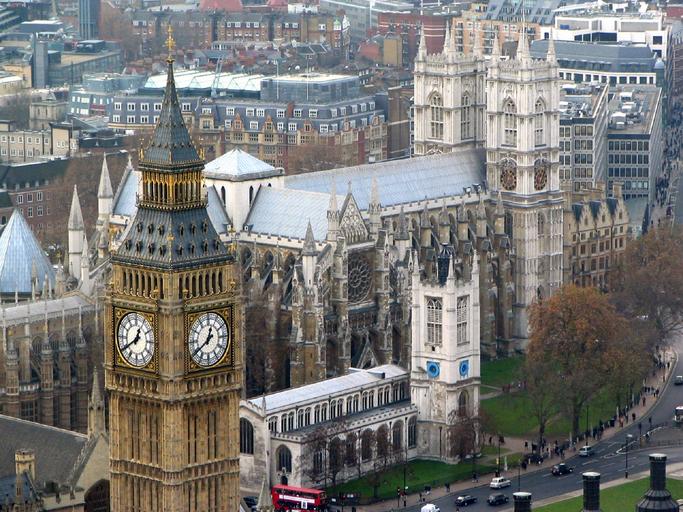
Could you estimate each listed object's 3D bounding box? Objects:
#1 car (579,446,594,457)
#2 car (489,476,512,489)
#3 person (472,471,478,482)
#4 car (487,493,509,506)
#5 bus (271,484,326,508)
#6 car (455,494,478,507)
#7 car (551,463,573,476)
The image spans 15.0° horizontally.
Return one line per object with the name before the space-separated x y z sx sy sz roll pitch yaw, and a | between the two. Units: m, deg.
car | 26.200 21.191 278.702 0.868 0.776 1.534 7 16 36
car | 16.215 23.681 268.067 1.923 0.861 1.030 -15 20 -39
person | 13.811 23.281 271.828 0.592 0.893 1.432 -5 2 3
car | 15.744 24.905 263.538 1.814 0.818 1.135 -17 24 -37
bus | -4.772 24.587 259.450 6.345 3.039 2.118 2 4 24
car | 12.486 25.038 263.513 2.015 0.646 0.950 -17 27 -37
car | 22.938 22.731 273.290 1.842 0.830 1.122 -14 17 -27
